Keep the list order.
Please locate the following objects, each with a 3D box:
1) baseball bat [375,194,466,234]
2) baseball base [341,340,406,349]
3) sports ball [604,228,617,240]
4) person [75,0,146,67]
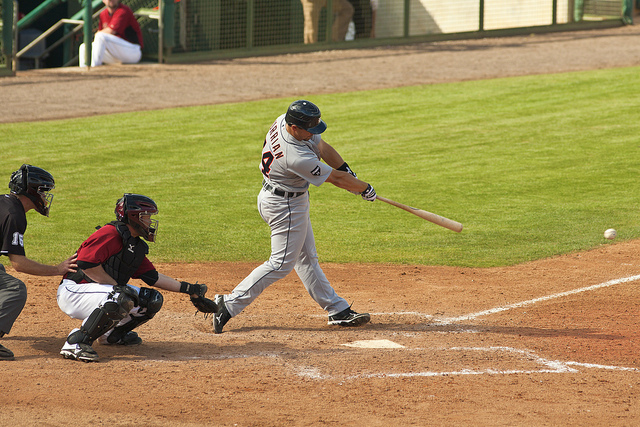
[{"bbox_3d":[1.589,0.046,20.800,1.736,0.160,0.178,17,-21,8],"label":"baseball bat"},{"bbox_3d":[0.700,1.754,17.010,0.796,0.075,0.226,0,6,1],"label":"baseball base"},{"bbox_3d":[4.494,0.338,20.285,0.189,0.144,0.176,-5,-11,-1],"label":"sports ball"},{"bbox_3d":[-4.138,-3.637,26.017,1.326,1.313,1.388,-1,7,-7],"label":"person"}]
